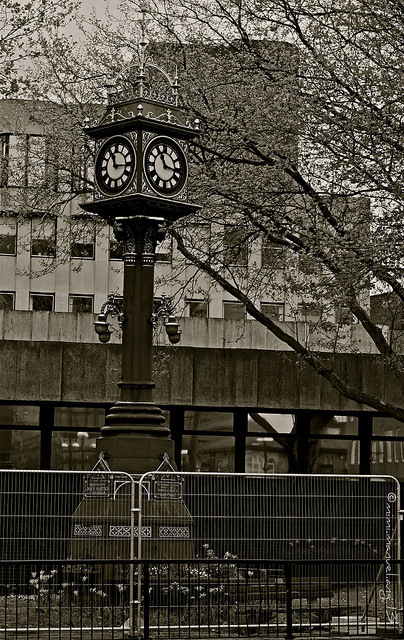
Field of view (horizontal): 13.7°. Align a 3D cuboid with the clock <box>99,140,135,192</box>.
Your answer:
[{"bbox_3d":[-1.091,-2.020,22.641,0.582,0.841,0.047,2,-10,41],"label":"clock"}]

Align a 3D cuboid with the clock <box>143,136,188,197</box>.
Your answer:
[{"bbox_3d":[-0.471,-2.030,22.661,0.125,0.901,0.779,-14,-20,41],"label":"clock"}]

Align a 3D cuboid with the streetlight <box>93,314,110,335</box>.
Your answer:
[{"bbox_3d":[-1.307,0.088,22.666,0.194,0.284,0.225,1,-7,1],"label":"streetlight"}]

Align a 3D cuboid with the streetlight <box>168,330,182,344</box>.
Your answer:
[{"bbox_3d":[-0.330,0.233,22.810,0.164,0.183,0.166,2,-8,-4],"label":"streetlight"}]

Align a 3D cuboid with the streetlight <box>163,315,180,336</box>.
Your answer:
[{"bbox_3d":[-0.384,0.102,22.588,0.198,0.285,0.219,-1,4,-14],"label":"streetlight"}]
